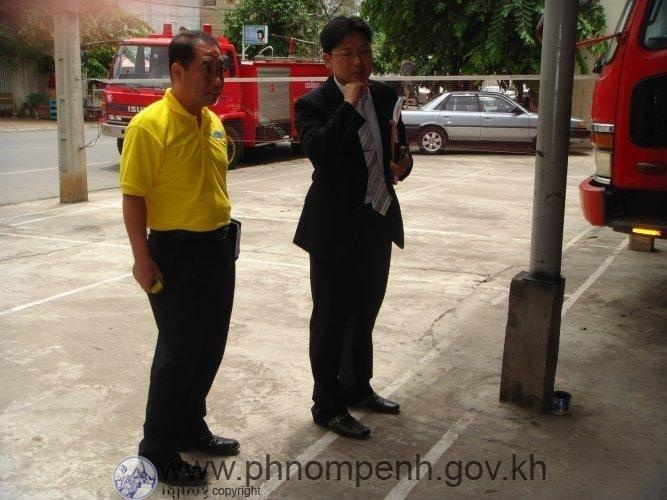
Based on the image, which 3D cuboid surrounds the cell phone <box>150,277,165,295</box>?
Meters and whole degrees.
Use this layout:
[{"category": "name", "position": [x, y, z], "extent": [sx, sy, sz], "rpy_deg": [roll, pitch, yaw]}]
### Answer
[{"category": "cell phone", "position": [-0.863, 0.171, 2.660], "extent": [0.036, 0.061, 0.060], "rpy_deg": [-44, 9, 2]}]

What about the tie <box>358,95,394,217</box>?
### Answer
[{"category": "tie", "position": [0.239, -0.535, 3.107], "extent": [0.183, 0.684, 0.192], "rpy_deg": [6, 15, 23]}]

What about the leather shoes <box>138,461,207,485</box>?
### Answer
[{"category": "leather shoes", "position": [-0.844, 1.156, 2.906], "extent": [0.354, 0.153, 0.123], "rpy_deg": [1, 4, 0]}]

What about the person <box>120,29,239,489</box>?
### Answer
[{"category": "person", "position": [-0.753, 0.065, 2.797], "extent": [0.639, 2.298, 0.431], "rpy_deg": [-8, 16, -30]}]
